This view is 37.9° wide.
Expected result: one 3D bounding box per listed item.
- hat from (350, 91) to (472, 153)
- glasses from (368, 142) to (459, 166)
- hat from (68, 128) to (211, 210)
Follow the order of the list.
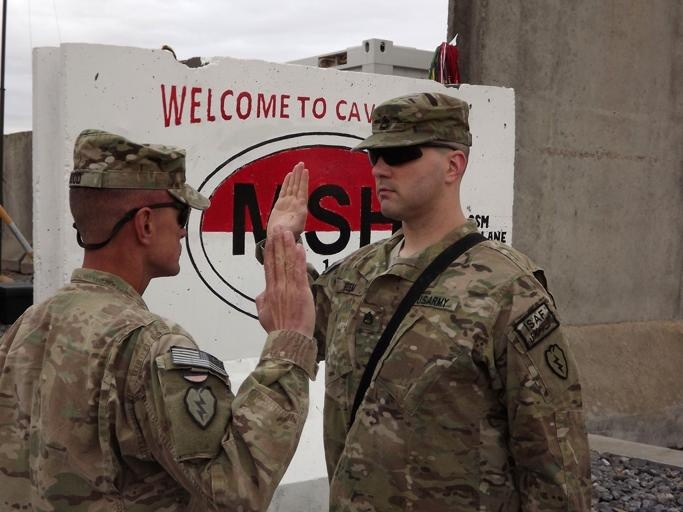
[{"bbox_3d":[0.352,-0.610,4.563,0.371,0.186,0.297,-1,1,-26],"label":"hat"},{"bbox_3d":[0.271,-0.468,4.529,0.211,0.062,0.180,-8,1,-5],"label":"glasses"},{"bbox_3d":[-0.884,-0.342,4.221,0.444,0.237,0.300,5,1,-24],"label":"hat"}]
